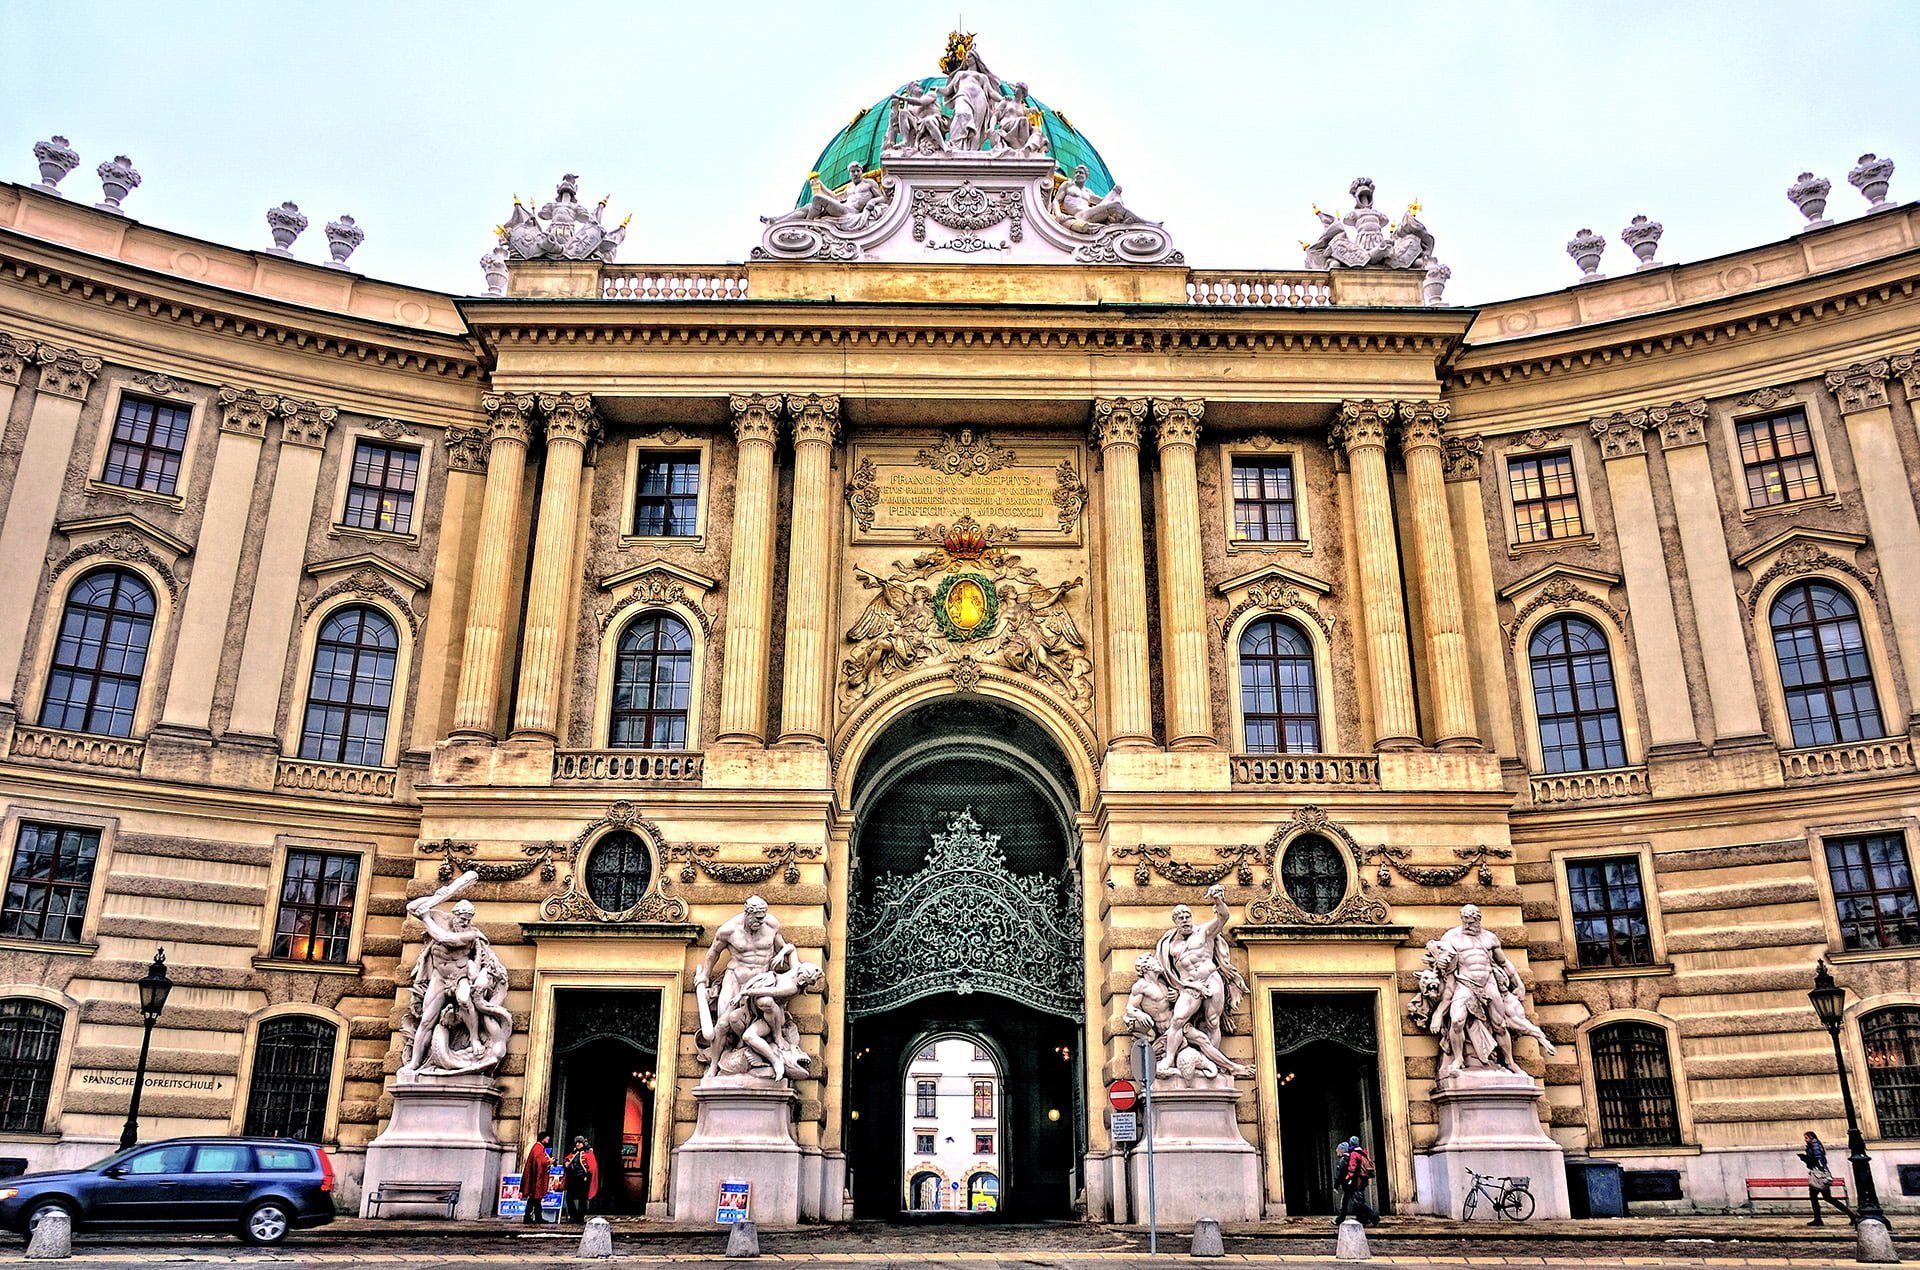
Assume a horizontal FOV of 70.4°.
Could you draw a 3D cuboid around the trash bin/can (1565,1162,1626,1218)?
[{"bbox_3d":[16.778,14.639,35.927,1.397,1.314,1.155,-7,-22,17],"label":"trash bin/can"}]
